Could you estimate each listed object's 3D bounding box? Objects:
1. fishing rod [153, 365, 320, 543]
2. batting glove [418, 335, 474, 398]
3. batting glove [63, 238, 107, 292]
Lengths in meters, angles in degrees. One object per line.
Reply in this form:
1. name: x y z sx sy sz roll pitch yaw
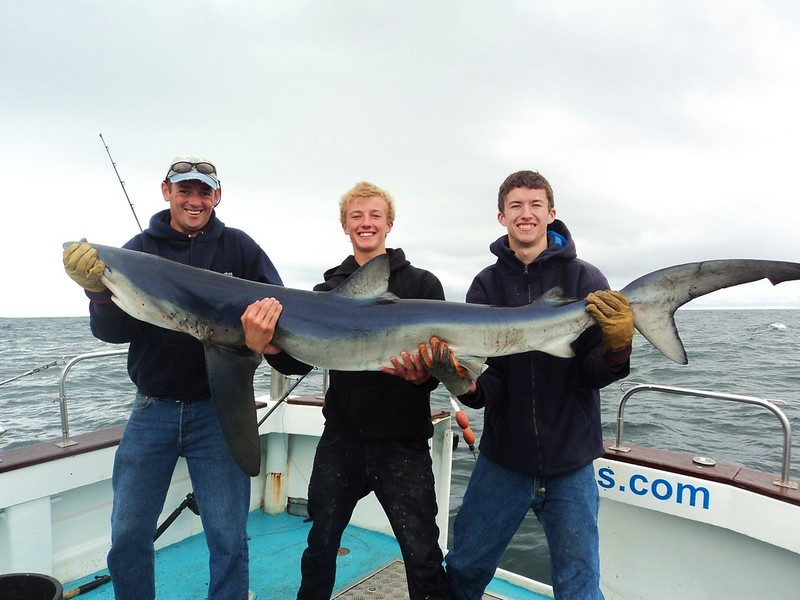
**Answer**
1. fishing rod: -1.624 1.556 6.282 0.300 2.648 0.242 30 -16 39
2. batting glove: 0.401 0.583 5.449 0.307 0.233 0.597 -34 -41 16
3. batting glove: -2.709 -0.282 5.490 0.317 0.456 0.214 -2 7 -26
